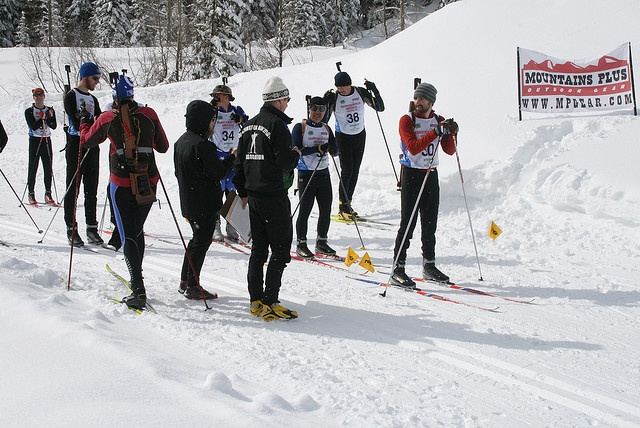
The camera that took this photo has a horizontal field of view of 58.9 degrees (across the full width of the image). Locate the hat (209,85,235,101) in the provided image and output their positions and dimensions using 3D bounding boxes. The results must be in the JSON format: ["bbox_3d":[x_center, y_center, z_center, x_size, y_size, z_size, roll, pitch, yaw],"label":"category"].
[{"bbox_3d":[-1.637,-2.061,9.636,0.257,0.165,0.341,-6,-18,40],"label":"hat"}]

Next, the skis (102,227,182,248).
[{"bbox_3d":[-2.832,0.386,8.971,1.783,0.203,0.187,8,-15,35],"label":"skis"}]

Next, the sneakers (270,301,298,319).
[{"bbox_3d":[-0.460,1.240,7.384,0.392,0.178,0.151,10,8,4],"label":"sneakers"}]

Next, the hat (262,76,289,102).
[{"bbox_3d":[-0.559,-1.636,7.302,0.351,0.297,0.268,-24,38,-26],"label":"hat"}]

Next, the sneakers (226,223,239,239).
[{"bbox_3d":[-1.429,0.277,9.314,0.106,0.107,0.326,-36,-11,7],"label":"sneakers"}]

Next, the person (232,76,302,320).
[{"bbox_3d":[-0.629,-0.194,7.286,0.727,3.049,0.538,1,10,-7],"label":"person"}]

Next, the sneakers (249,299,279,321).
[{"bbox_3d":[-0.654,1.248,7.340,0.462,0.232,0.160,11,27,10],"label":"sneakers"}]

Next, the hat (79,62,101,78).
[{"bbox_3d":[-3.576,-2.239,8.849,0.295,0.234,0.215,-13,25,8],"label":"hat"}]

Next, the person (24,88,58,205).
[{"bbox_3d":[-6.139,-1.501,12.480,0.616,2.476,1.269,-3,11,-26],"label":"person"}]

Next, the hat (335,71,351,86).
[{"bbox_3d":[0.402,-2.516,10.671,0.271,0.212,0.250,-31,39,-9],"label":"hat"}]

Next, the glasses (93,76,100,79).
[{"bbox_3d":[-3.488,-2.114,8.838,0.070,0.039,0.071,1,11,-29],"label":"glasses"}]

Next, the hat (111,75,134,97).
[{"bbox_3d":[-2.522,-1.612,7.359,0.247,0.302,0.341,-1,41,-6],"label":"hat"}]

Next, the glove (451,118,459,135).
[{"bbox_3d":[1.909,-1.228,8.064,0.178,0.183,0.139,1,2,13],"label":"glove"}]

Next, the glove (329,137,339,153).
[{"bbox_3d":[0.222,-1.086,9.037,0.084,0.262,0.194,-7,9,-2],"label":"glove"}]

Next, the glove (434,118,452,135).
[{"bbox_3d":[1.764,-1.221,8.008,0.188,0.239,0.361,9,12,34],"label":"glove"}]

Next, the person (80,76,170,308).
[{"bbox_3d":[-2.486,-0.265,7.290,0.878,2.812,0.844,1,10,-3],"label":"person"}]

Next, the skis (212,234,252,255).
[{"bbox_3d":[-1.503,0.533,9.878,0.274,0.165,1.002,-21,34,-40],"label":"skis"}]

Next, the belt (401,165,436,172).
[{"bbox_3d":[1.454,-0.678,8.311,0.511,0.144,0.356,4,10,8],"label":"belt"}]

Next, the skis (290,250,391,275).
[{"bbox_3d":[0.298,0.792,9.070,0.950,0.098,0.288,14,21,28],"label":"skis"}]

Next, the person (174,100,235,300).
[{"bbox_3d":[-1.541,-0.148,7.496,0.750,2.638,0.521,0,10,-12],"label":"person"}]

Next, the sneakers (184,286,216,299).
[{"bbox_3d":[-1.612,1.069,7.638,0.423,0.201,0.169,0,4,-12],"label":"sneakers"}]

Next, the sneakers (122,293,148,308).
[{"bbox_3d":[-2.348,1.100,7.183,0.303,0.177,0.180,-1,11,-18],"label":"sneakers"}]

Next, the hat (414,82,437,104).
[{"bbox_3d":[1.561,-1.754,8.203,0.301,0.251,0.288,15,16,30],"label":"hat"}]
